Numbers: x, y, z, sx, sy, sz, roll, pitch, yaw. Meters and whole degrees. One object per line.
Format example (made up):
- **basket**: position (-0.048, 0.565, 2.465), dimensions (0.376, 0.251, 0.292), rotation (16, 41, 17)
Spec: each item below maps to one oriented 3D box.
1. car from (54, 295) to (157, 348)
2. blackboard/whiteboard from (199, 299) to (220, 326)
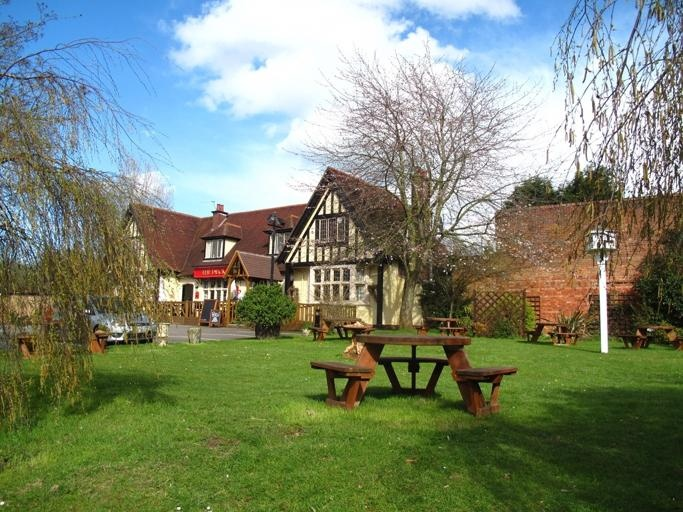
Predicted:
- **car**: position (-3.432, 1.003, 8.995), dimensions (0.880, 0.909, 1.604), rotation (-2, 6, -17)
- **blackboard/whiteboard**: position (-7.394, 3.254, 32.807), dimensions (0.988, 1.420, 1.904), rotation (-4, 6, -31)
